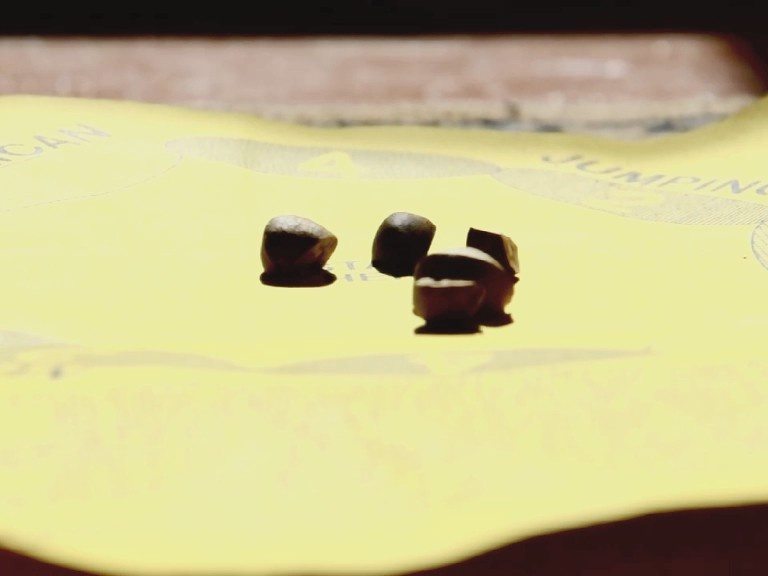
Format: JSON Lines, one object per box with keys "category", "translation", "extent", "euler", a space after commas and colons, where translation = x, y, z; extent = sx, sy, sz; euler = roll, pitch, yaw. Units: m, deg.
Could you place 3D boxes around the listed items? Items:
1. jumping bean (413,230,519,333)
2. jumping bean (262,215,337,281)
{"category": "jumping bean", "translation": [0.129, -0.003, 1.202], "extent": [0.156, 0.058, 0.169], "euler": [15, 41, 23]}
{"category": "jumping bean", "translation": [-0.126, -0.061, 1.290], "extent": [0.135, 0.068, 0.111], "euler": [12, -10, -28]}
